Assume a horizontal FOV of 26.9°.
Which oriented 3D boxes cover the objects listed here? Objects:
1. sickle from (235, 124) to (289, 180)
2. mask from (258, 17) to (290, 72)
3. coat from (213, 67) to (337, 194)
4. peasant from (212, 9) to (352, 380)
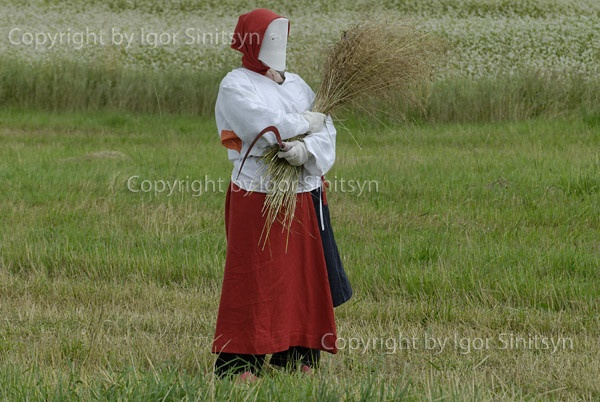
[{"bbox_3d":[-0.262,-0.402,9.914,0.357,0.320,0.085,-4,18,-38],"label":"sickle"},{"bbox_3d":[-0.207,-1.246,10.033,0.229,0.434,0.122,-5,13,-42],"label":"mask"},{"bbox_3d":[-0.311,-0.648,10.267,0.881,1.043,1.325,-1,22,-6],"label":"coat"},{"bbox_3d":[-0.168,-0.046,10.365,0.910,2.502,1.658,-1,5,-4],"label":"peasant"}]
